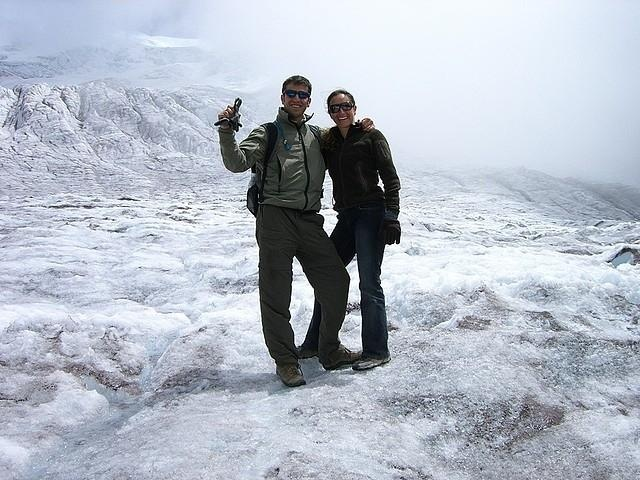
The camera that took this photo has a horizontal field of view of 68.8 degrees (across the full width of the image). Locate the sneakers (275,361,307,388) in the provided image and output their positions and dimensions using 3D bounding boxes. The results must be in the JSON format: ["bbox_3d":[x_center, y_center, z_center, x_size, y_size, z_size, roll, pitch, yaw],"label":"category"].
[{"bbox_3d":[-0.249,1.136,3.999,0.169,0.165,0.241,-9,10,-17],"label":"sneakers"}]

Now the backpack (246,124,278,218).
[{"bbox_3d":[-0.514,-0.629,4.195,0.367,0.831,0.211,-8,10,-5],"label":"backpack"}]

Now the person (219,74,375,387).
[{"bbox_3d":[-0.276,-0.105,4.140,1.061,2.672,0.775,-11,11,-24],"label":"person"}]

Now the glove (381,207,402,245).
[{"bbox_3d":[0.629,-0.110,4.221,0.155,0.336,0.318,-5,9,9],"label":"glove"}]
